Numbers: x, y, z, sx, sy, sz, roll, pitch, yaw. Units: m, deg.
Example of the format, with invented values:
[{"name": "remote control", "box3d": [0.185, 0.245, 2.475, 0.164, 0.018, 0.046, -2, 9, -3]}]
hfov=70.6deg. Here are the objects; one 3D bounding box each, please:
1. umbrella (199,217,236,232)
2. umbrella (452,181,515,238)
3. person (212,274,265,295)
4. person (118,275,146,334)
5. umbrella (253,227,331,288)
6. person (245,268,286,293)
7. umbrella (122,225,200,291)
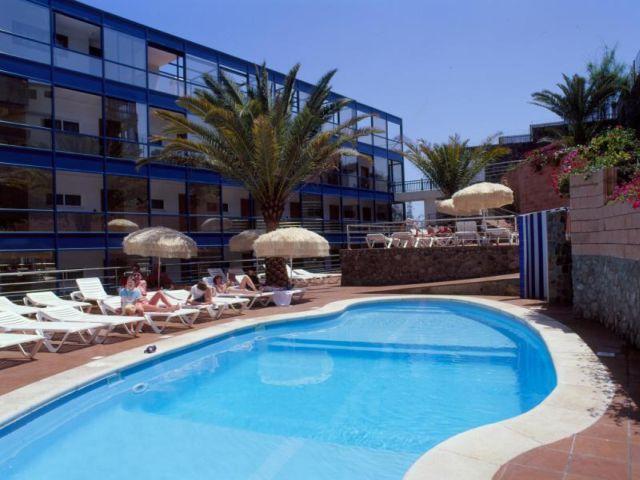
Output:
[{"name": "umbrella", "box3d": [-4.991, -0.776, 21.999, 1.689, 0.692, 0.844, -3, 7, -16]}, {"name": "umbrella", "box3d": [6.196, -1.251, 17.959, 2.113, 1.245, 2.008, -5, -1, -17]}, {"name": "person", "box3d": [-2.624, 1.329, 14.184, 1.114, 0.365, 0.775, -4, -8, 17]}, {"name": "person", "box3d": [-4.575, 1.362, 10.955, 0.499, 0.819, 1.204, -4, 7, -23]}, {"name": "umbrella", "box3d": [-1.177, 0.722, 17.201, 3.117, 2.085, 2.934, 0, -4, -9]}, {"name": "person", "box3d": [-2.136, 1.395, 15.402, 1.766, 0.660, 0.683, 9, -2, 15]}, {"name": "umbrella", "box3d": [-4.894, 0.567, 14.192, 2.095, 1.940, 2.073, 1, -4, 31]}]
